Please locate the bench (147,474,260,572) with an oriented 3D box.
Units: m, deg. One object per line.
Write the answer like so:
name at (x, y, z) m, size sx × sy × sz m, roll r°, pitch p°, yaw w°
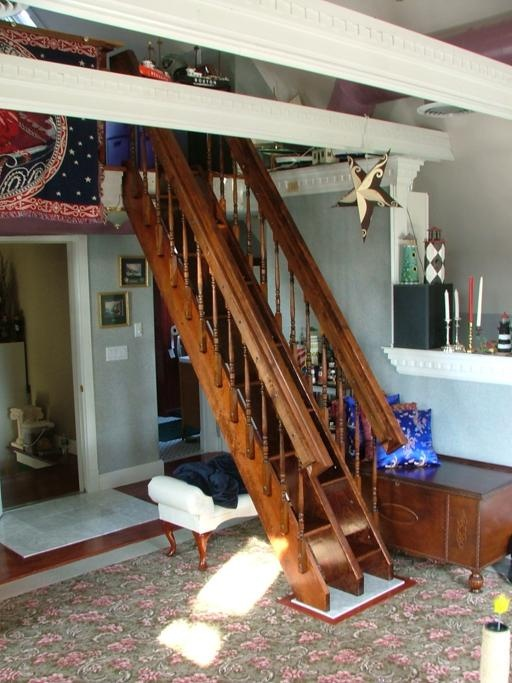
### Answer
bench at (-0.300, 1.262, 4.343) m, size 0.530 × 0.556 × 0.879 m, roll 0°, pitch -2°, yaw 45°
